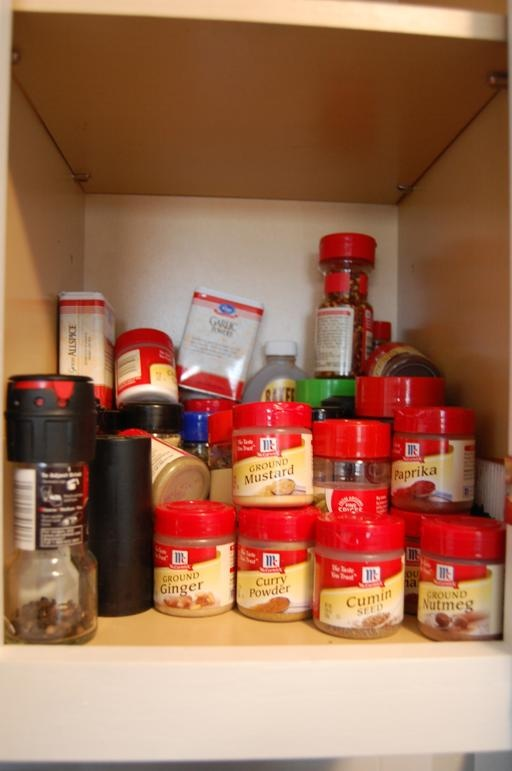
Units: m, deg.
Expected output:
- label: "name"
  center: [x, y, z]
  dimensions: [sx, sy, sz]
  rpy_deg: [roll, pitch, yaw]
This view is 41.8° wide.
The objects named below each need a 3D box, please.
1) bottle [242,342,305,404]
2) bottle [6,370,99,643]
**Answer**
- label: "bottle"
  center: [0.022, -0.016, 1.000]
  dimensions: [0.086, 0.111, 0.038]
  rpy_deg: [6, 4, 7]
- label: "bottle"
  center: [-0.186, 0.108, 0.602]
  dimensions: [0.084, 0.227, 0.144]
  rpy_deg: [0, -3, -13]
